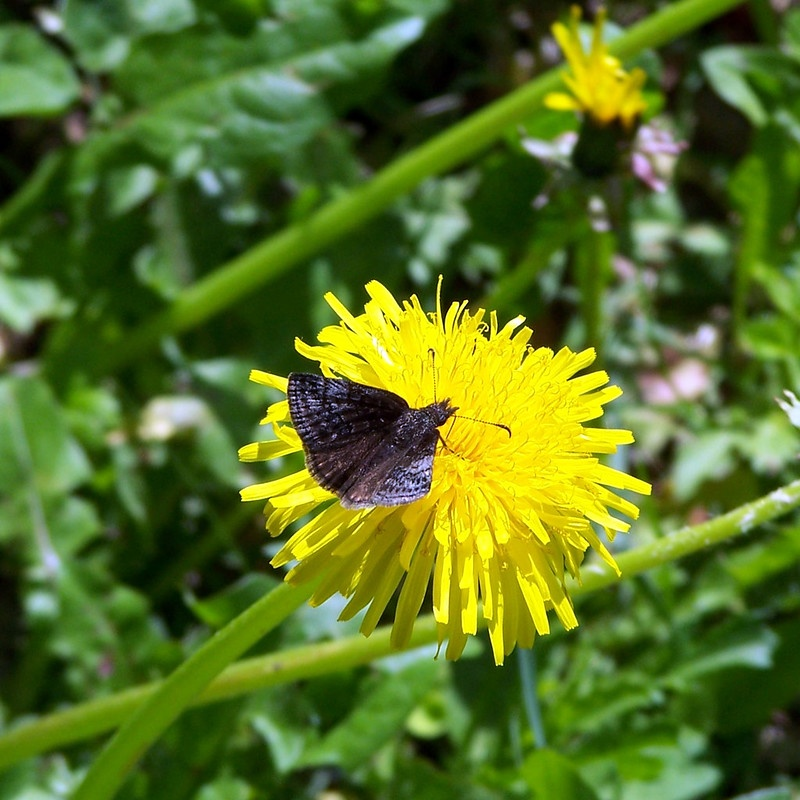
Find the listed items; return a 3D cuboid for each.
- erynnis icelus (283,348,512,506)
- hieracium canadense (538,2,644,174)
[{"bbox_3d":[-0.019,-0.006,0.901,0.192,0.134,0.121,-7,30,-15],"label":"erynnis icelus"},{"bbox_3d":[0.266,-0.400,1.218,0.099,0.284,0.101,1,9,2],"label":"hieracium canadense"}]
